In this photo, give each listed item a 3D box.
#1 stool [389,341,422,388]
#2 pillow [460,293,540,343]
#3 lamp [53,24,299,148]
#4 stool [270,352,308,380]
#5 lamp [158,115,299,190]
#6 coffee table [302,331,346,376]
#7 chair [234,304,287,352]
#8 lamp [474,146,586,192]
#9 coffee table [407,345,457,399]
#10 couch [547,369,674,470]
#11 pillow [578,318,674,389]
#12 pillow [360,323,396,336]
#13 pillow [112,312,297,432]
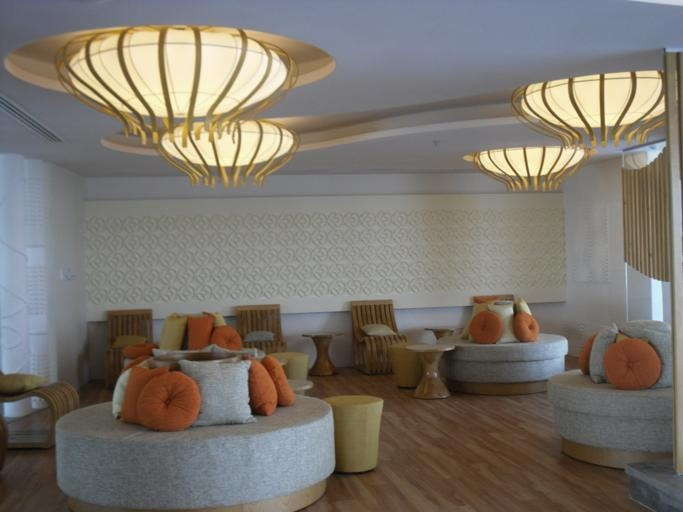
[{"bbox_3d":[0.912,1.566,7.292,0.617,0.617,0.599,0,-1,0],"label":"stool"},{"bbox_3d":[2.250,0.912,7.209,0.802,0.295,0.747,-3,33,9],"label":"pillow"},{"bbox_3d":[-1.286,-1.351,4.102,1.705,0.799,1.718,7,12,40],"label":"lamp"},{"bbox_3d":[-0.675,1.436,6.528,0.390,0.267,0.380,2,2,28],"label":"stool"},{"bbox_3d":[-1.355,-1.200,6.208,1.703,0.624,1.648,7,16,25],"label":"lamp"},{"bbox_3d":[-0.292,1.604,8.328,0.698,0.559,0.687,0,-7,-3],"label":"coffee table"},{"bbox_3d":[-1.307,1.157,8.274,0.782,1.017,0.755,-1,-6,-15],"label":"chair"},{"bbox_3d":[2.774,-1.234,7.421,1.607,0.572,1.566,-7,7,-14],"label":"lamp"},{"bbox_3d":[1.123,1.512,6.849,0.709,0.621,0.665,-1,2,2],"label":"coffee table"},{"bbox_3d":[2.239,1.395,4.461,0.763,0.386,0.718,-1,-5,-1],"label":"couch"},{"bbox_3d":[2.606,0.915,4.622,0.624,0.570,0.224,-9,-31,26],"label":"pillow"},{"bbox_3d":[0.619,1.233,8.501,0.564,0.168,0.344,-2,0,2],"label":"pillow"},{"bbox_3d":[-1.077,0.997,3.913,1.390,0.446,1.431,-1,0,-18],"label":"pillow"}]
